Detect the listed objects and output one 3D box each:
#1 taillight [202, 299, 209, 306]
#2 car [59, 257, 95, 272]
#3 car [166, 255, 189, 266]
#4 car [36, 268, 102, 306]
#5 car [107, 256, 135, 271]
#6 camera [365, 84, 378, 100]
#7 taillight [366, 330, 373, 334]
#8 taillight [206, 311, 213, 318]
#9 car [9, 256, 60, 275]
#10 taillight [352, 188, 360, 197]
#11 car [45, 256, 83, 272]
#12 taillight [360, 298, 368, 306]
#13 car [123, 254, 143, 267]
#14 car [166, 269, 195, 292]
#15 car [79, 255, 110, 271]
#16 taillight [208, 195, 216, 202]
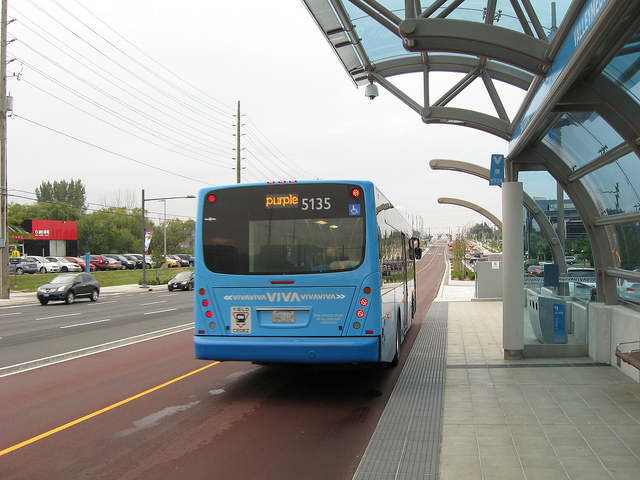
[{"bbox_3d":[-1.981,1.088,8.364,0.114,0.108,0.009,-2,1,10],"label":"taillight"},{"bbox_3d":[-25.351,2.319,50.599,3.779,1.458,1.858,1,0,24],"label":"car"},{"bbox_3d":[-19.814,2.709,66.878,2.673,1.011,1.277,14,1,6],"label":"car"},{"bbox_3d":[-14.037,2.720,27.468,1.624,1.525,3.592,-3,-8,9],"label":"car"},{"bbox_3d":[-23.320,2.695,56.159,2.889,1.300,1.419,-3,0,15],"label":"car"},{"bbox_3d":[1.111,-3.245,10.536,0.267,0.377,0.524,-1,0,5],"label":"camera"},{"bbox_3d":[0.807,1.510,7.907,0.104,0.064,0.007,-2,1,-1],"label":"taillight"},{"bbox_3d":[-1.909,1.289,8.336,0.114,0.107,0.012,-2,1,10],"label":"taillight"},{"bbox_3d":[-26.406,2.434,44.592,3.014,1.116,1.482,-2,2,-33],"label":"car"},{"bbox_3d":[0.610,-0.807,8.220,0.117,0.151,0.013,-2,1,0],"label":"taillight"},{"bbox_3d":[-25.965,2.427,48.248,3.158,1.222,1.546,0,1,17],"label":"car"},{"bbox_3d":[0.720,1.035,7.960,0.124,0.104,0.018,-2,1,5],"label":"taillight"},{"bbox_3d":[-22.402,2.545,57.761,2.459,1.190,1.257,-4,2,13],"label":"car"},{"bbox_3d":[-10.377,3.153,36.323,1.577,1.007,2.331,-2,0,9],"label":"car"},{"bbox_3d":[-24.432,2.515,52.003,2.954,1.317,1.455,4,0,3],"label":"car"},{"bbox_3d":[-1.936,-0.738,8.593,0.126,0.128,0.044,-1,1,29],"label":"taillight"}]
